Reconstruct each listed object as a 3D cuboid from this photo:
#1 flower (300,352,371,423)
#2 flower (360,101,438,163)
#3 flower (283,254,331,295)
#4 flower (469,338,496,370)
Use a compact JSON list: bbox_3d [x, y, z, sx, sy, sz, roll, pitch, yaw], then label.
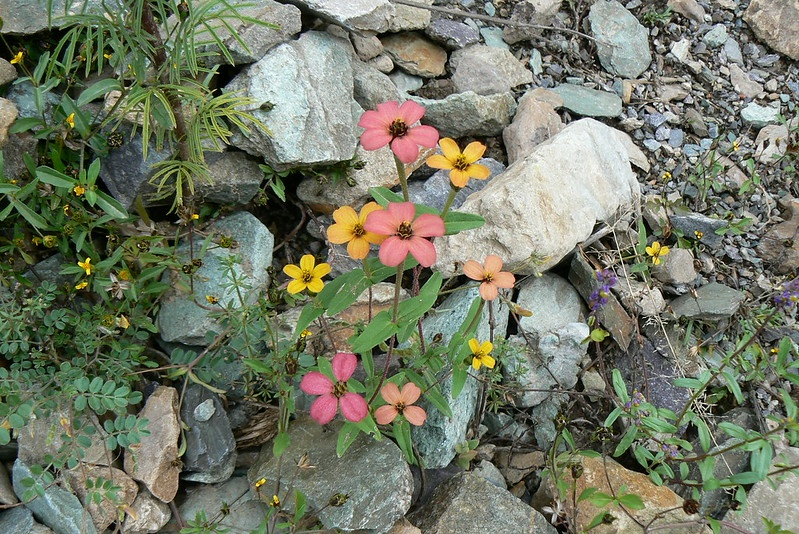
[{"bbox_3d":[-0.353,0.665,3.486,0.314,0.363,0.345,0,47,-28],"label":"flower"},{"bbox_3d":[-0.001,-0.682,3.227,0.338,0.216,0.376,-19,60,-41],"label":"flower"},{"bbox_3d":[-0.536,0.052,3.632,0.221,0.221,0.242,-9,53,-35],"label":"flower"},{"bbox_3d":[0.490,0.533,3.818,0.176,0.061,0.199,-11,88,-14],"label":"flower"}]
